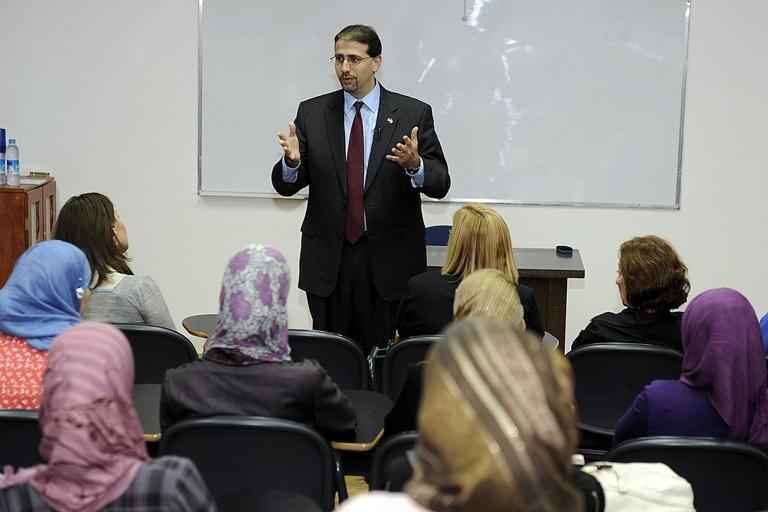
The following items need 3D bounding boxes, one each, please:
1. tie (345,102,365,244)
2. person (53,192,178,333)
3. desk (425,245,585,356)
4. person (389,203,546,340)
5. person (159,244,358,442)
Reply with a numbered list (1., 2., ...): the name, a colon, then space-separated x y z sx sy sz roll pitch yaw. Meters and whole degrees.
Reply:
1. tie: -0.150 -0.420 3.481 0.096 0.698 0.099 1 5 -13
2. person: -1.343 0.041 3.084 0.699 0.646 0.366 1 12 11
3. desk: 0.780 0.445 4.208 0.934 0.944 0.665 0 10 4
4. person: 0.360 0.060 3.128 0.535 0.836 0.610 0 1 9
5. person: -0.473 0.331 2.624 0.521 0.933 0.481 7 36 2
